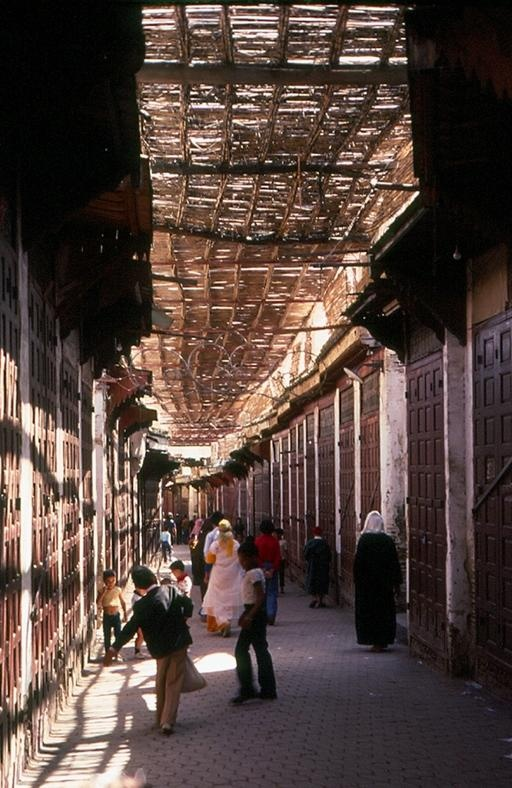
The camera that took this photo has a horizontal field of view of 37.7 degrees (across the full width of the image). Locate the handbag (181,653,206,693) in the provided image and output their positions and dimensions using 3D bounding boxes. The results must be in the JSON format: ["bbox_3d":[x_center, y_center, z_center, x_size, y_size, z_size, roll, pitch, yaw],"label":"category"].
[{"bbox_3d":[-0.496,2.185,5.852,0.168,0.303,0.281,-1,-9,-6],"label":"handbag"}]

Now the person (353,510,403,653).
[{"bbox_3d":[1.516,2.301,9.345,0.576,1.652,0.353,-3,-8,9],"label":"person"}]

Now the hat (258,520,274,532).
[{"bbox_3d":[0.186,2.313,13.087,0.216,0.290,0.288,2,-3,1],"label":"hat"}]

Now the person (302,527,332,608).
[{"bbox_3d":[1.271,3.633,15.176,0.496,1.442,1.262,-2,-9,3],"label":"person"}]

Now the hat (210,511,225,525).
[{"bbox_3d":[-0.679,2.136,12.918,0.212,0.309,0.298,1,-10,-4],"label":"hat"}]
